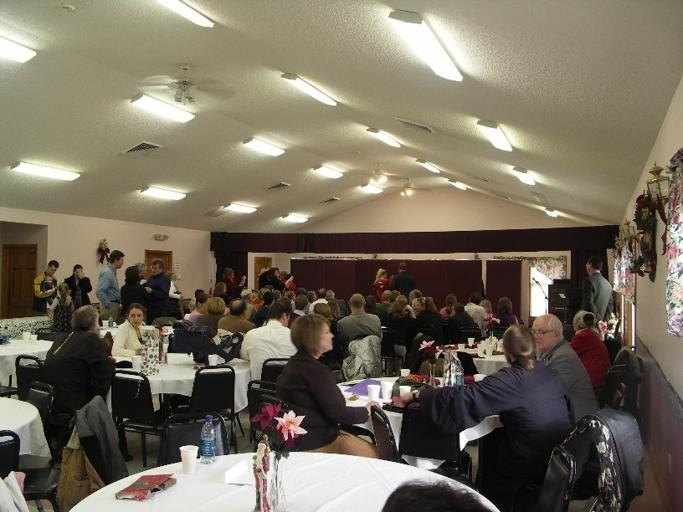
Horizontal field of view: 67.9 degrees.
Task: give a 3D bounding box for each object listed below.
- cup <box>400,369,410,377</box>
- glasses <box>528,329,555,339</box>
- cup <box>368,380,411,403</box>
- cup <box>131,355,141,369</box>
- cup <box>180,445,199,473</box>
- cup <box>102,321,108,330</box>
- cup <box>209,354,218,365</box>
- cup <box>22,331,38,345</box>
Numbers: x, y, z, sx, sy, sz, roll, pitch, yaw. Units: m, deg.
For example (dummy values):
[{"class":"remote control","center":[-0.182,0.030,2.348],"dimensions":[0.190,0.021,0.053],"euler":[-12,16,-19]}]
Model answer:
[{"class":"cup","center":[0.591,1.084,4.742],"dimensions":[0.102,0.115,0.107],"euler":[0,-12,0]},{"class":"glasses","center":[1.708,0.662,4.308],"dimensions":[0.169,0.051,0.160],"euler":[9,-11,-26]},{"class":"cup","center":[0.384,1.116,4.134],"dimensions":[0.252,0.091,0.196],"euler":[3,-11,-1]},{"class":"cup","center":[-2.091,1.098,5.218],"dimensions":[0.114,0.110,0.145],"euler":[0,-9,3]},{"class":"cup","center":[-0.837,1.114,2.797],"dimensions":[0.128,0.132,0.127],"euler":[-1,-2,0]},{"class":"cup","center":[-3.871,1.144,8.346],"dimensions":[0.082,0.149,0.083],"euler":[2,-8,0]},{"class":"cup","center":[-1.347,1.090,5.355],"dimensions":[0.102,0.110,0.098],"euler":[1,1,0]},{"class":"cup","center":[-4.303,1.142,7.020],"dimensions":[0.162,0.170,0.235],"euler":[3,-9,-13]}]
